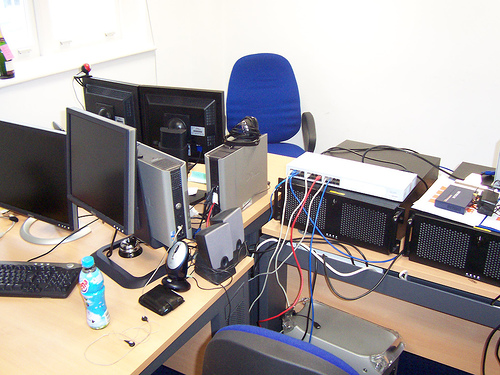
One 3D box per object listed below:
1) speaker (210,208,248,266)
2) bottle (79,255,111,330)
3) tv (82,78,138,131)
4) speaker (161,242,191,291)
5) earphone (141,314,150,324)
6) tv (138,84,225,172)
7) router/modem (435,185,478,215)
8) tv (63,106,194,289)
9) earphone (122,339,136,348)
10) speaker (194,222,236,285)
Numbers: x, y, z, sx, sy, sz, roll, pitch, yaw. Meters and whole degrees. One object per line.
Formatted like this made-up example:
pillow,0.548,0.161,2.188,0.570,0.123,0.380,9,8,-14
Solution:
speaker,-0.095,0.227,1.833,0.128,0.250,0.143,10,31,29
bottle,-0.601,0.375,1.595,0.090,0.295,0.163,-9,30,-24
tv,-0.743,-0.440,2.233,0.333,0.299,0.110,15,25,29
speaker,-0.311,0.327,1.780,0.146,0.192,0.120,9,6,44
earphone,-0.408,0.516,1.631,0.027,0.015,0.020,9,6,-29
tv,-0.396,-0.320,2.355,0.463,0.431,0.157,7,36,6
router/modem,0.915,0.052,1.859,0.113,0.036,0.174,21,41,34
tv,-0.547,0.076,1.853,0.538,0.723,0.377,23,31,33
earphone,-0.445,0.575,1.545,0.037,0.017,0.021,16,23,36
speaker,-0.146,0.291,1.795,0.162,0.202,0.163,21,36,29
